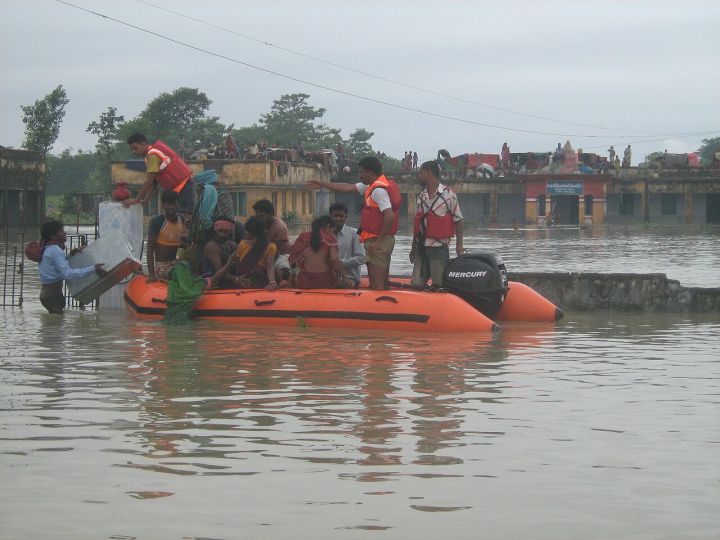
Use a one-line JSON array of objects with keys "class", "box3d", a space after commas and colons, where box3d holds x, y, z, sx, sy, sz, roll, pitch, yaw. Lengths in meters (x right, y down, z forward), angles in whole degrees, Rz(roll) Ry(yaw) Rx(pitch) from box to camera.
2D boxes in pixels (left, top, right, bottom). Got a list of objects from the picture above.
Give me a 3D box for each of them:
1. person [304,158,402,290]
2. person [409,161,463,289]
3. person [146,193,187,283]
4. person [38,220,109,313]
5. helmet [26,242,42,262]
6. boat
[{"class": "person", "box3d": [0.178, -0.591, 18.920, 0.683, 1.673, 0.933, 1, 1, -20]}, {"class": "person", "box3d": [1.010, -0.581, 19.272, 0.663, 1.624, 1.131, 2, 1, 1]}, {"class": "person", "box3d": [-2.619, -0.454, 20.172, 0.508, 1.166, 0.882, 1, 1, -4]}, {"class": "person", "box3d": [-4.063, -0.027, 20.391, 0.920, 1.271, 0.694, 3, 2, 42]}, {"class": "helmet", "box3d": [-4.466, -0.241, 20.389, 0.283, 0.275, 0.259, -1, -7, -4]}, {"class": "boat", "box3d": [-0.492, 0.518, 19.245, 4.091, 0.469, 1.761, -1, -2, 13]}]
